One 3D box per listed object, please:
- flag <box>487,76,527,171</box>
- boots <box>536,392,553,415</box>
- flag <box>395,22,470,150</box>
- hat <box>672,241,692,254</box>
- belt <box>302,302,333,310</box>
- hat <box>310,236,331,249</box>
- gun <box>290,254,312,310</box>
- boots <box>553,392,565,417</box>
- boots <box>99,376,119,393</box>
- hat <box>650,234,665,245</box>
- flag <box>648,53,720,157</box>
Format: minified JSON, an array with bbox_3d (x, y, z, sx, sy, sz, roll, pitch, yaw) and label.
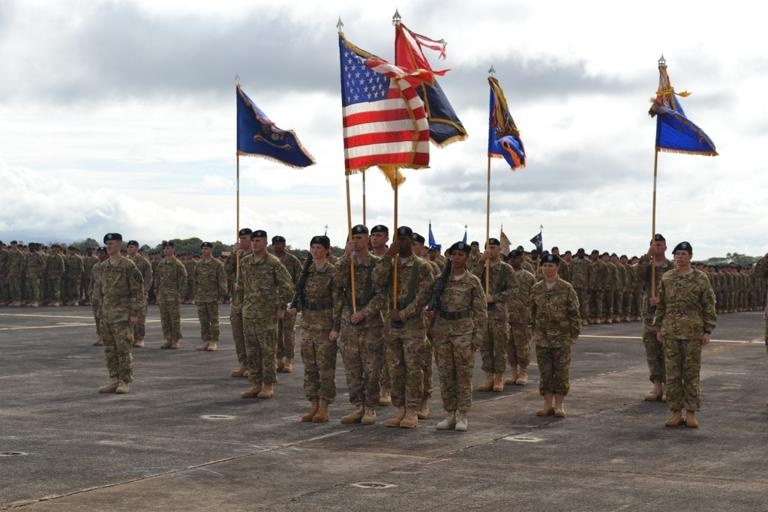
[{"bbox_3d":[2.464,-2.631,19.336,0.644,1.783,1.485,1,6,11],"label":"flag"},{"bbox_3d":[2.701,2.457,16.130,0.284,0.353,0.259,1,6,9],"label":"boots"},{"bbox_3d":[0.698,-3.089,17.001,1.130,2.828,0.316,-10,-23,-6],"label":"flag"},{"bbox_3d":[4.310,-0.114,13.830,0.209,0.173,0.280,7,-3,-15],"label":"hat"},{"bbox_3d":[-1.123,0.826,16.076,0.537,0.123,0.133,2,6,18],"label":"belt"},{"bbox_3d":[-1.075,-0.242,16.231,0.242,0.248,0.574,1,6,5],"label":"hat"},{"bbox_3d":[-1.483,0.478,17.238,0.146,0.960,0.377,2,-20,39],"label":"gun"},{"bbox_3d":[2.932,2.466,16.155,0.195,0.382,0.410,-1,-36,5],"label":"boots"},{"bbox_3d":[-5.078,2.358,17.781,0.356,0.217,0.371,-3,7,-28],"label":"boots"},{"bbox_3d":[4.289,-0.253,15.114,0.212,0.092,0.286,0,1,2],"label":"hat"},{"bbox_3d":[5.307,-2.790,17.816,0.962,1.784,1.699,4,7,35],"label":"flag"}]
